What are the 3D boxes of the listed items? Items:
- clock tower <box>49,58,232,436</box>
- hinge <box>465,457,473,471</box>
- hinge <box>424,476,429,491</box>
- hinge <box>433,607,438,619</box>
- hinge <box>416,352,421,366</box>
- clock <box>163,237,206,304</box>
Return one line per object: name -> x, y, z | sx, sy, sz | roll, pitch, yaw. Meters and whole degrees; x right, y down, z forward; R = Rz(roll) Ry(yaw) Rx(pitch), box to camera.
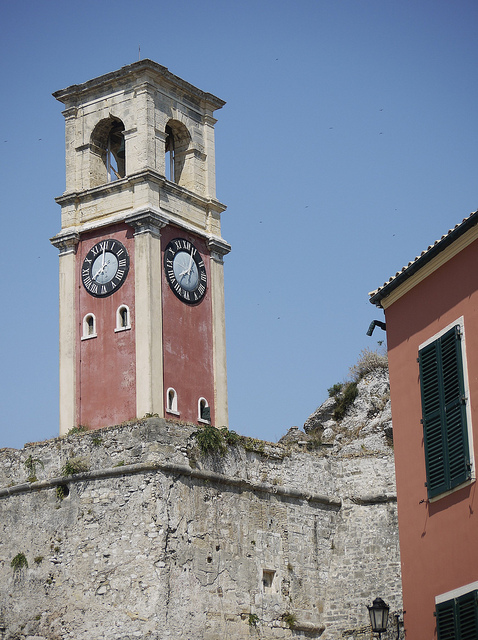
clock tower -> -2.382, -1.080, 40.446 | 3.143, 10.012, 3.376 | -7, -15, 23
hinge -> 3.895, 2.413, 26.749 | 0.107, 0.048, 0.116 | -21, -46, 26
hinge -> 3.375, 2.897, 28.225 | 0.071, 0.074, 0.325 | -4, -53, 0
hinge -> 3.424, 5.025, 27.360 | 0.090, 0.207, 0.187 | 1, -6, -8
hinge -> 3.338, 0.723, 29.070 | 0.032, 0.165, 0.134 | -1, 4, -10
clock -> -1.315, -1.207, 40.265 | 1.338, 1.614, 0.091 | 9, 20, 38
